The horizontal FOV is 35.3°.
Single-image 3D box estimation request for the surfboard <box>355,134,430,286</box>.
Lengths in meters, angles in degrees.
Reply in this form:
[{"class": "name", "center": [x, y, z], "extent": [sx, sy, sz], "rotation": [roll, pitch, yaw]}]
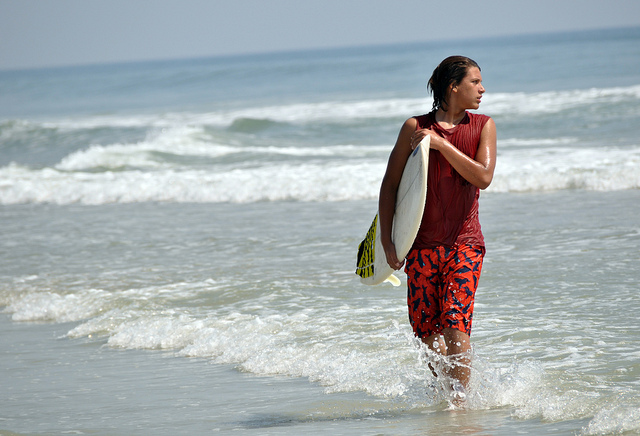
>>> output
[{"class": "surfboard", "center": [0.846, -0.077, 12.087], "extent": [0.981, 1.859, 0.518], "rotation": [6, 20, 33]}]
